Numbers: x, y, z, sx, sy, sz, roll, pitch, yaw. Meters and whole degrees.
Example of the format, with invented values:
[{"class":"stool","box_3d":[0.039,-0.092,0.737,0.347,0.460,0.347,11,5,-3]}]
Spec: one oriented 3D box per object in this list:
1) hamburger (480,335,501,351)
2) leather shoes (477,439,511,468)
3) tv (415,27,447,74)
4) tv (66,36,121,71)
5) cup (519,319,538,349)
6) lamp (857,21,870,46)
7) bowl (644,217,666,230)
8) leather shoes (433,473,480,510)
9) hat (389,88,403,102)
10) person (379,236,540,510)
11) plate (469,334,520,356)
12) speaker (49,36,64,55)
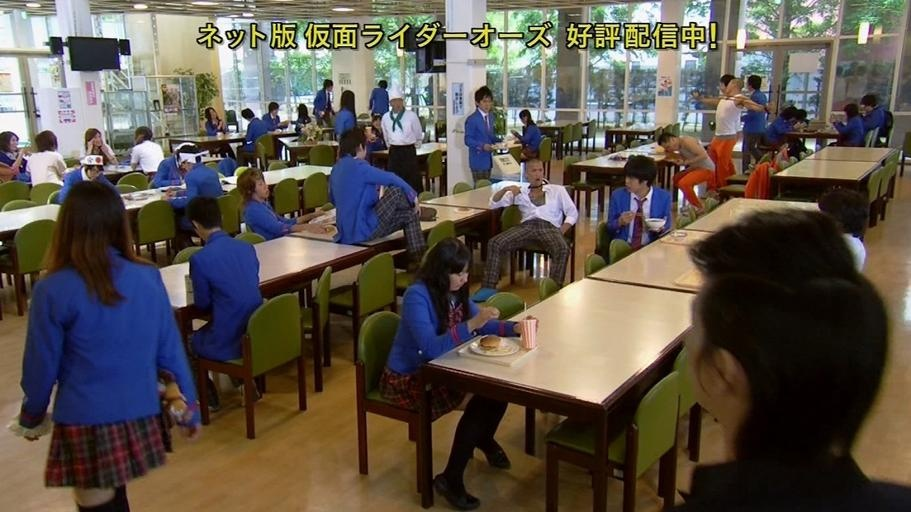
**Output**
[{"class":"hamburger","box_3d":[0.173,0.453,3.230,0.075,0.040,0.073,-8,13,-34]},{"class":"leather shoes","box_3d":[0.228,1.181,3.689,0.115,0.236,0.065,-43,-7,5]},{"class":"tv","box_3d":[-0.314,-3.730,11.391,0.495,0.663,0.704,21,27,32]},{"class":"tv","box_3d":[-5.573,-3.095,9.503,0.990,0.551,0.078,4,9,19]},{"class":"cup","box_3d":[0.395,0.411,3.262,0.105,0.141,0.103,0,-9,0]},{"class":"lamp","box_3d":[7.609,-4.193,11.484,0.187,0.440,2.172,9,19,31]},{"class":"bowl","box_3d":[1.641,-0.277,5.116,0.125,0.060,0.120,0,11,0]},{"class":"leather shoes","box_3d":[-0.006,1.283,3.359,0.263,0.102,0.140,35,27,3]},{"class":"hat","box_3d":[-0.856,-2.293,8.690,0.241,0.183,0.257,-2,2,-3]},{"class":"person","box_3d":[-0.031,0.612,3.444,0.619,1.388,0.642,12,21,36]},{"class":"plate","box_3d":[0.204,0.457,3.259,0.269,0.060,0.240,-1,16,0]},{"class":"speaker","box_3d":[-6.118,-3.237,9.427,0.182,0.251,0.464,-11,19,-30]}]
